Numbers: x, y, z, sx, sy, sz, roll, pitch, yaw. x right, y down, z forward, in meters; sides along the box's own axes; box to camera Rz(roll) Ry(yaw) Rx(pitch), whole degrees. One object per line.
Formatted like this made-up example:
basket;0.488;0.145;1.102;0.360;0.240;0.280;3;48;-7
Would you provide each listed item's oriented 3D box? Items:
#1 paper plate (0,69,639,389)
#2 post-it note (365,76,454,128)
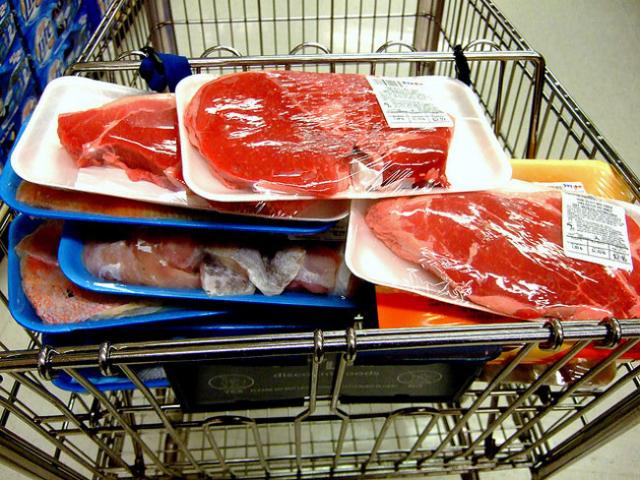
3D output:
paper plate;-0.147;-0.083;1.255;0.884;0.309;0.613;1;60;-15
post-it note;0.178;-0.262;1.083;0.143;0.015;0.160;1;-3;-2
